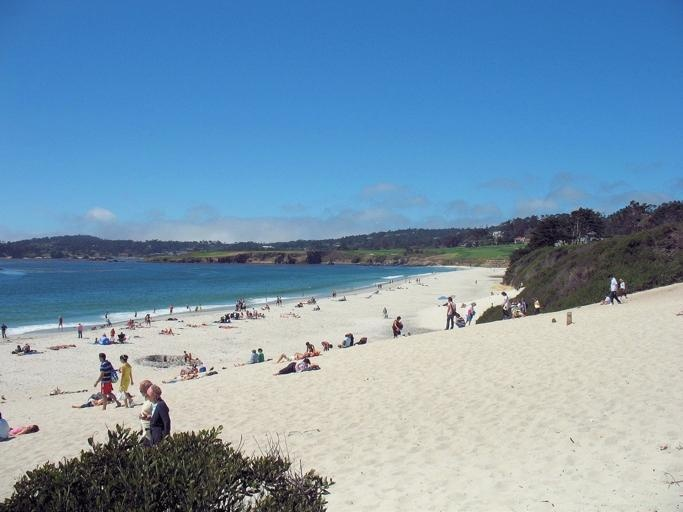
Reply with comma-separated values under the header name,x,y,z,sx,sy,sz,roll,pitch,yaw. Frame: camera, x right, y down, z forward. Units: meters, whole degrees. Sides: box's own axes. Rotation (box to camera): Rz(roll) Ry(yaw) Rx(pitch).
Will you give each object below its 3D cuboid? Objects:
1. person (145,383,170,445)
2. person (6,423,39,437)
name,x,y,z,sx,sy,sz,roll,pitch,yaw
person,-3.598,3.068,10.961,0.426,1.116,1.205,-11,0,-21
person,-8.631,4.761,15.320,0.979,0.276,0.549,-4,-9,-19
